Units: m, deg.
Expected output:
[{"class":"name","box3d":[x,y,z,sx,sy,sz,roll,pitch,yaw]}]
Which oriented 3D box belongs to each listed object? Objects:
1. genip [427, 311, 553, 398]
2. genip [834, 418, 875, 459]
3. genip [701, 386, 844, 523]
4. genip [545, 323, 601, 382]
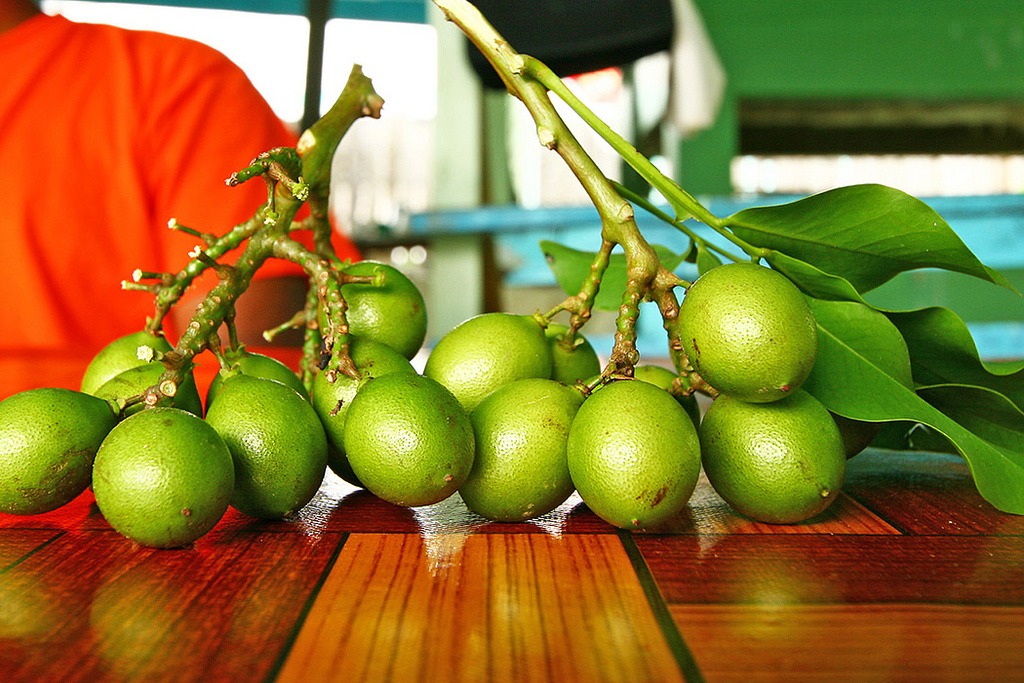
[{"class":"genip","box3d":[-0.013,0.019,0.733,0.085,0.060,0.061,-18,37,-7]},{"class":"genip","box3d":[0.272,0.075,0.724,0.040,0.027,0.039,0,-11,-3]},{"class":"genip","box3d":[0.184,0.084,0.654,0.097,0.084,0.044,3,15,10]},{"class":"genip","box3d":[0.045,0.013,0.701,0.042,0.044,0.089,2,14,7]}]
